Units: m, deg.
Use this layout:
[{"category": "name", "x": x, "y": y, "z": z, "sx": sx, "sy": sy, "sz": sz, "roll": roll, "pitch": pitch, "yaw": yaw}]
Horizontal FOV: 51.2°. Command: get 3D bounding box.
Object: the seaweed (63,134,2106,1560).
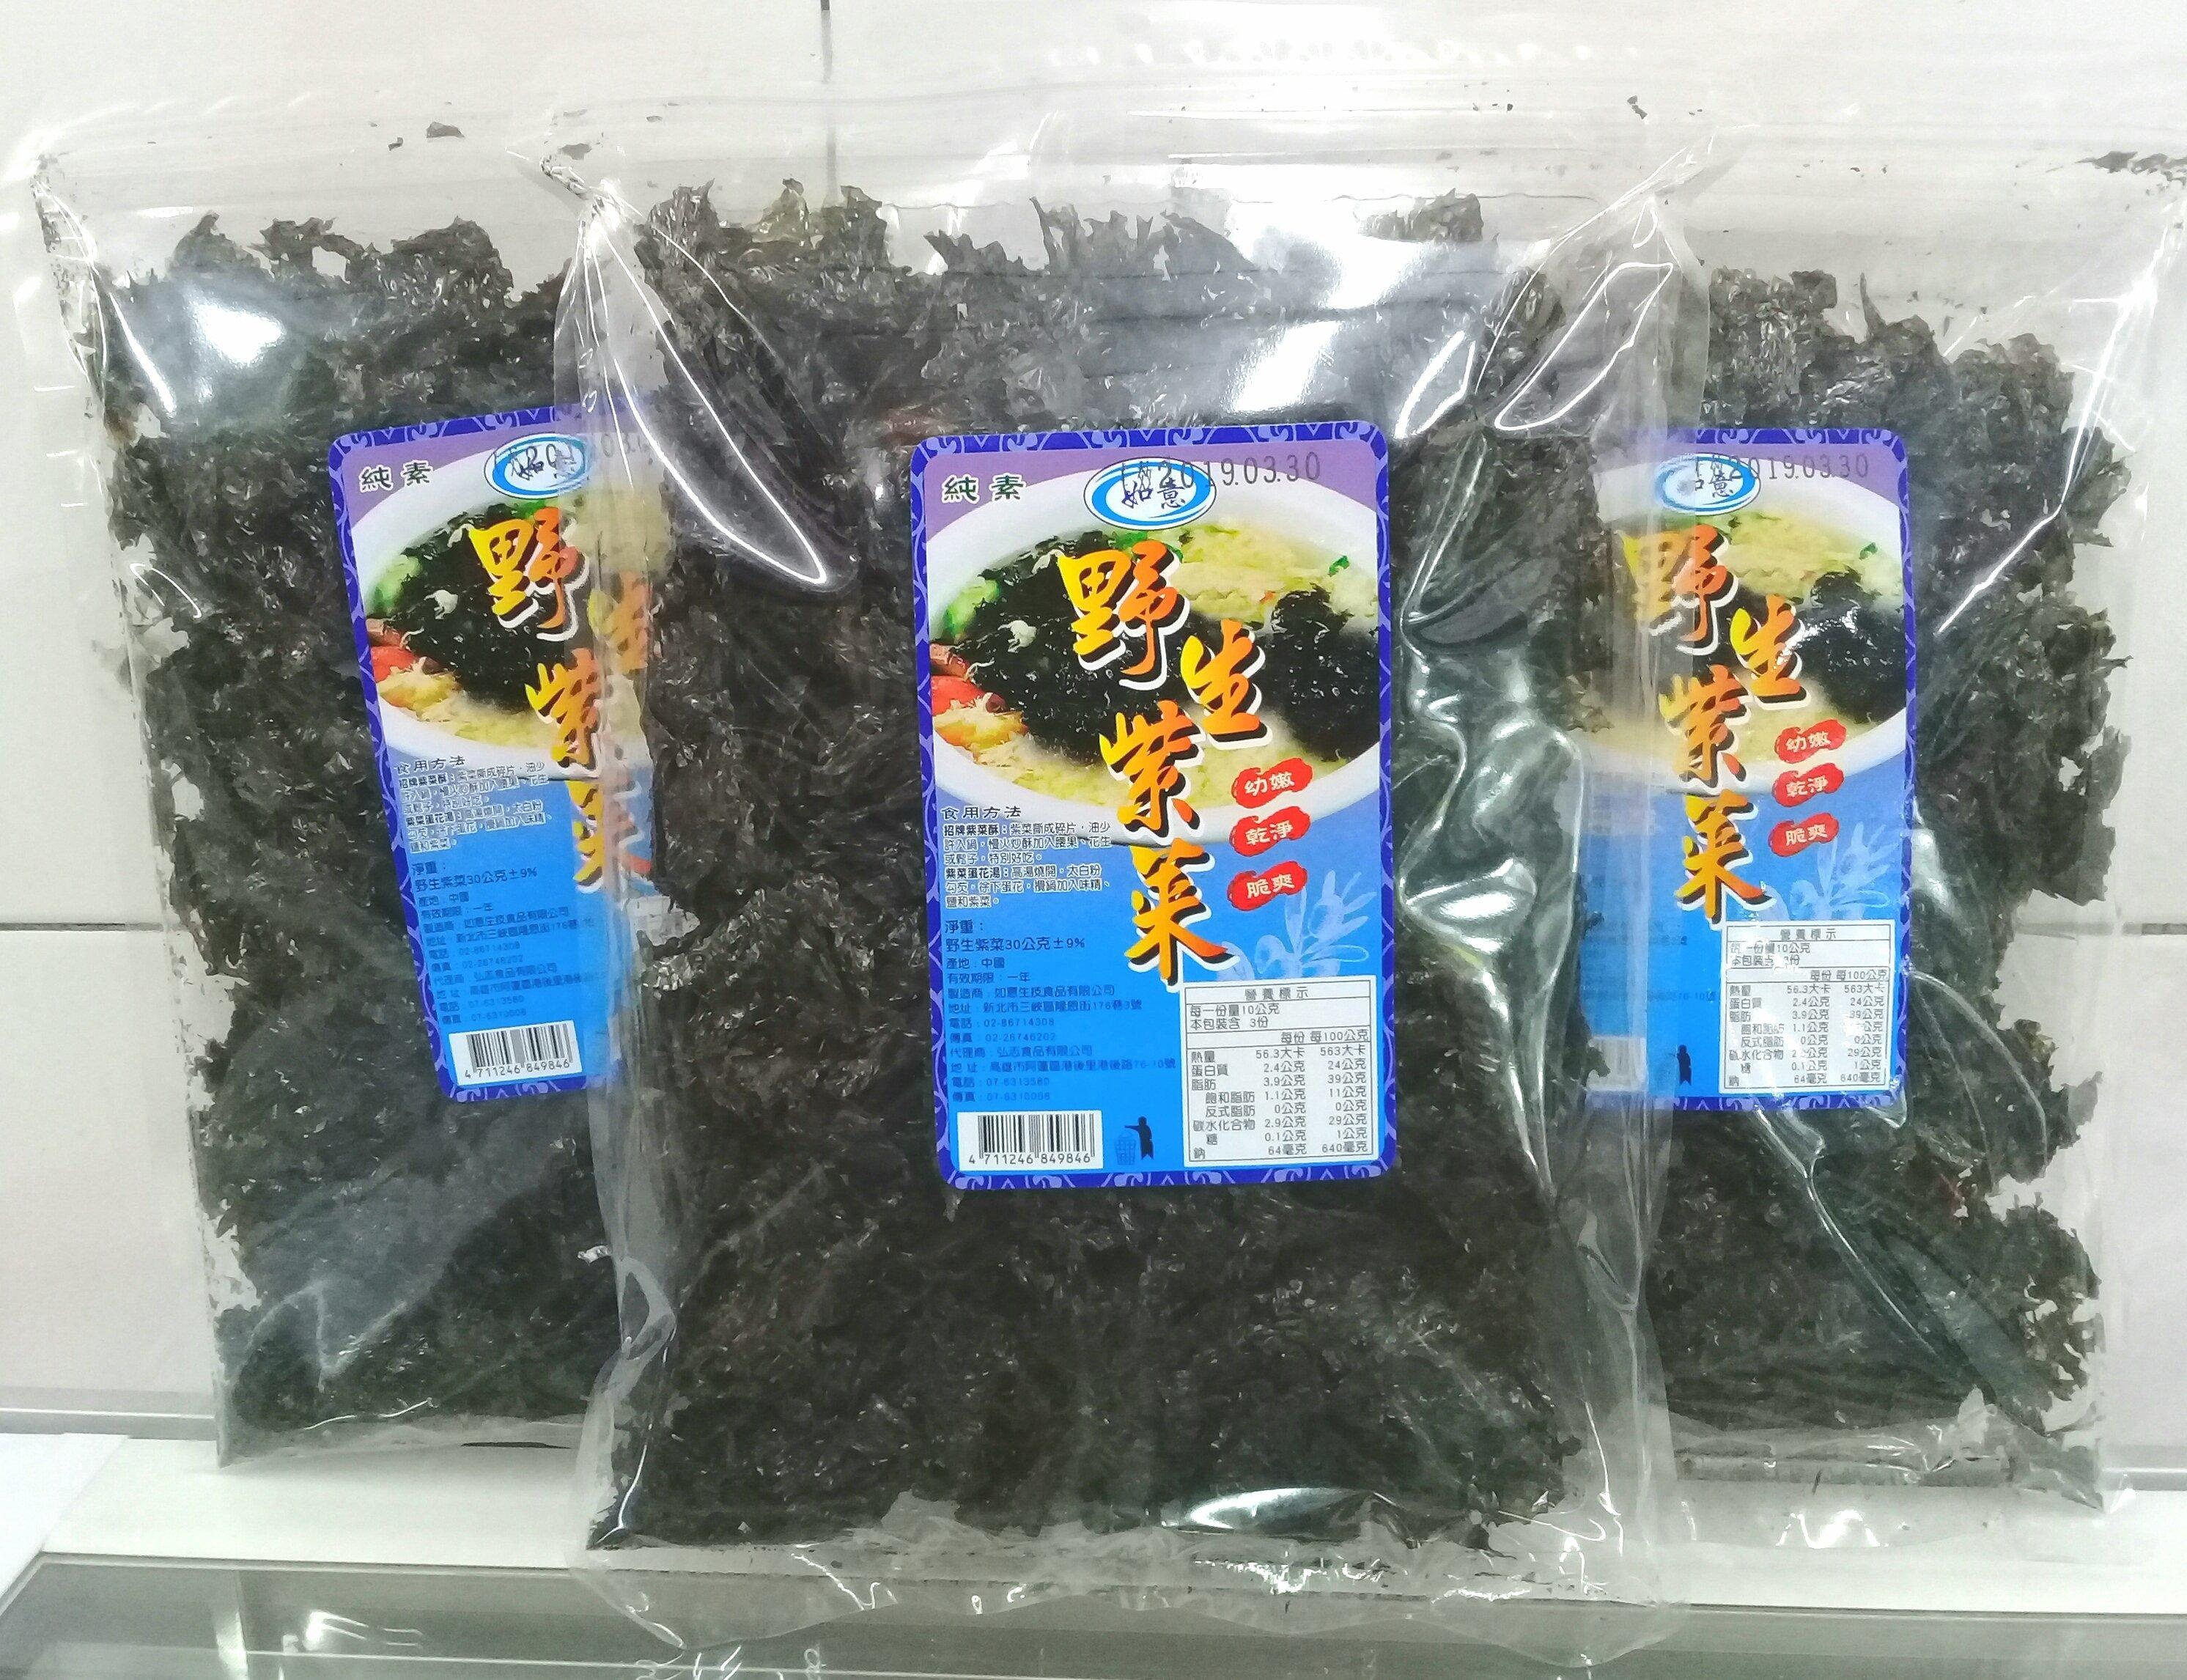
[{"category": "seaweed", "x": 0.041, "y": -0.017, "z": 1.598, "sx": 1.059, "sy": 0.756, "sz": 0.149, "roll": 0, "pitch": 10, "yaw": -1}]
